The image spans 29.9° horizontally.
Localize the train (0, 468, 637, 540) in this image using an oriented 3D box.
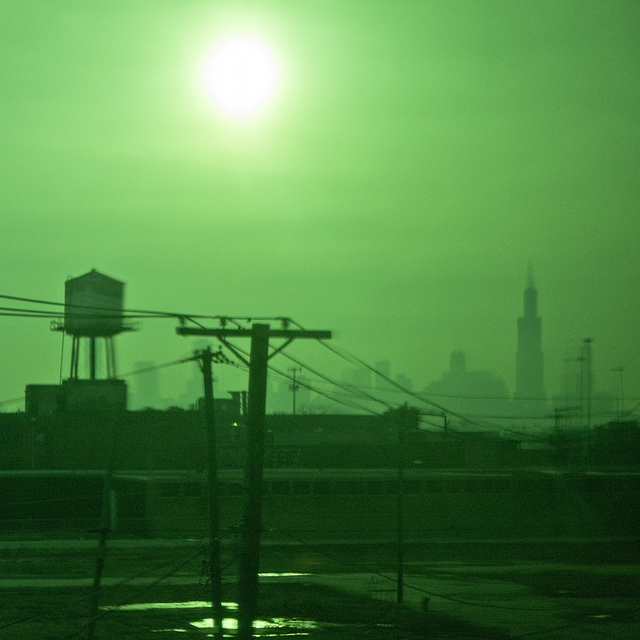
[{"bbox_3d":[0.306,9.122,60.815,32.326,3.053,7.506,2,-2,-17],"label":"train"}]
